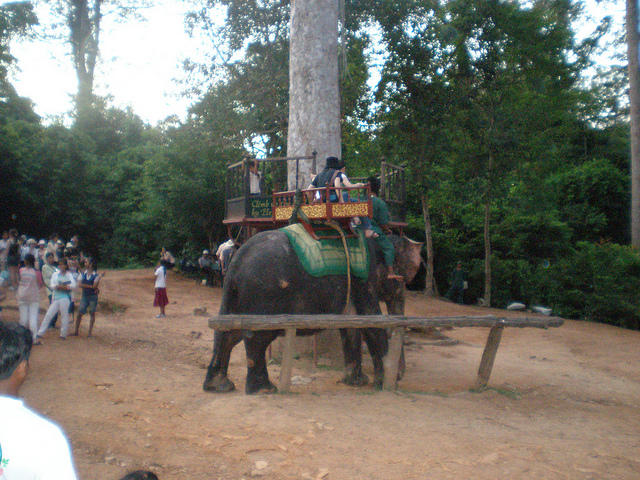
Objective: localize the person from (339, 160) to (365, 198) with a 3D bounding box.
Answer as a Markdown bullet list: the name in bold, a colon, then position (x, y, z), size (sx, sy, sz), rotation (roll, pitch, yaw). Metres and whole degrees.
- **person**: position (0.574, -1.196, 12.995), size (0.452, 0.673, 1.514), rotation (2, -1, -5)

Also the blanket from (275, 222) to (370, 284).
- **blanket**: position (0.055, 0.456, 12.773), size (1.262, 1.029, 1.291), rotation (-2, 17, -17)

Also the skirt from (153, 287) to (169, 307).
- **skirt**: position (-4.685, 1.670, 18.709), size (0.360, 0.454, 0.602), rotation (2, -1, -14)

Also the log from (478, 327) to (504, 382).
- **log**: position (3.313, 2.210, 12.427), size (0.419, 1.049, 0.586), rotation (2, 0, 15)

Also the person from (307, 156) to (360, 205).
- **person**: position (0.182, -1.166, 12.683), size (0.649, 1.237, 1.211), rotation (5, 10, 33)

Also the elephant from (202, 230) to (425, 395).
- **elephant**: position (0.079, 1.283, 13.082), size (4.681, 3.485, 1.579), rotation (2, -3, -31)
